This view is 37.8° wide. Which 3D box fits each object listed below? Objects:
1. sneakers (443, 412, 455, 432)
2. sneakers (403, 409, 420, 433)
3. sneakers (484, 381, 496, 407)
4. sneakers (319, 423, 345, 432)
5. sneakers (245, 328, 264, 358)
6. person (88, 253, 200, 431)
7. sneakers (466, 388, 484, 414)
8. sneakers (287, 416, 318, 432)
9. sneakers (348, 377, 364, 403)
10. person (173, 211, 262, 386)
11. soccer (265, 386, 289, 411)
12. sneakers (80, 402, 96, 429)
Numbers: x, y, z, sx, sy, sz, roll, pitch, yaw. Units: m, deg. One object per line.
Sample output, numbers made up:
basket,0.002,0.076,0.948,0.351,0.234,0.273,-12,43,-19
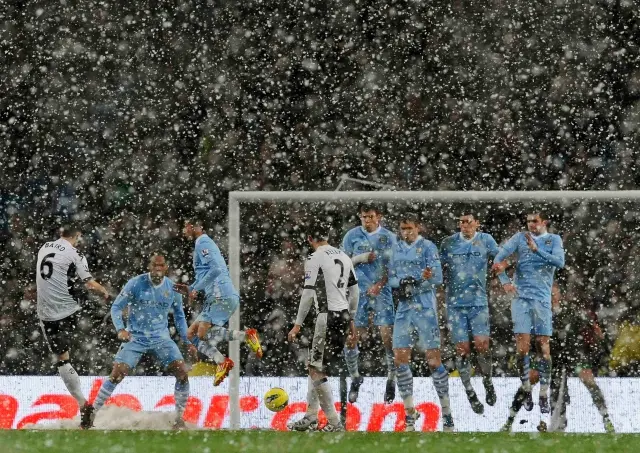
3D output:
sneakers,1.515,2.308,10.989,0.120,0.151,0.168,-2,45,-2
sneakers,1.069,2.267,10.981,0.150,0.080,0.284,11,82,29
sneakers,2.078,2.036,11.395,0.117,0.139,0.335,-6,91,4
sneakers,0.133,2.273,10.543,0.287,0.111,0.147,3,84,9
sneakers,-0.816,1.381,11.110,0.196,0.124,0.316,-34,100,-44
person,-2.202,1.552,11.847,1.440,1.048,2.534,5,66,-13
sneakers,1.864,2.106,11.365,0.125,0.164,0.385,-17,92,-3
sneakers,-0.196,2.281,10.801,0.370,0.142,0.200,3,85,3
sneakers,0.430,1.983,11.407,0.110,0.138,0.372,7,85,29
person,-1.309,1.011,12.087,1.199,0.898,2.378,-2,53,-4
soccer,-0.471,2.013,10.875,0.245,0.243,0.274,-4,80,-34
sneakers,-2.674,2.168,10.782,0.119,0.135,0.341,1,84,-7
